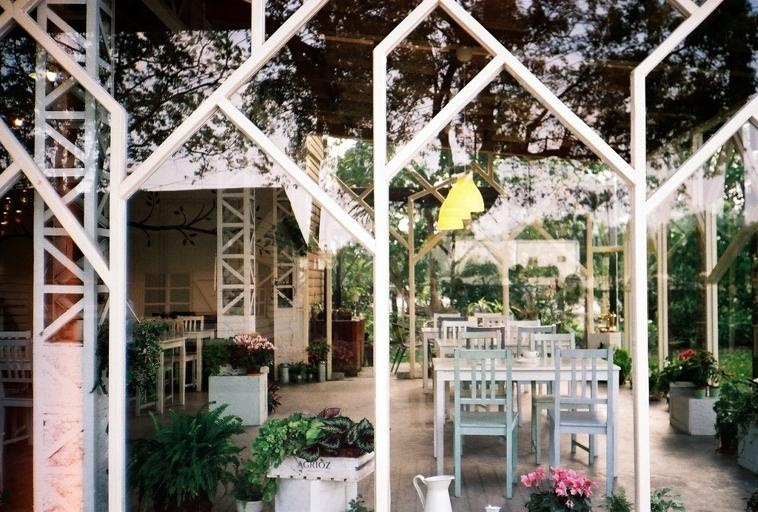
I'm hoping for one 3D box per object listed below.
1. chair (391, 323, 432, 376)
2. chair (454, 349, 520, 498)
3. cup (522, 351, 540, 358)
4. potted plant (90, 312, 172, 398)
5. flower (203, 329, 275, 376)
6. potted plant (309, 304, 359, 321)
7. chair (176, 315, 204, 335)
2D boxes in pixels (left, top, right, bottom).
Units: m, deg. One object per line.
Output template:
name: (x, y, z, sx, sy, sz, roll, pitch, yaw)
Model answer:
chair: (0.335, 1.017, 8.601, 0.411, 0.683, 0.482, 1, 2, -6)
chair: (1.038, 1.647, 8.020, 0.616, 1.356, 1.493, -2, -10, 5)
cup: (1.547, 1.004, 8.158, 0.103, 0.043, 0.073, 0, -2, -38)
potted plant: (-1.957, 0.811, 6.540, 0.654, 0.664, 0.568, 8, -13, -41)
flower: (-1.343, 0.913, 7.564, 0.494, 0.326, 0.404, 0, -5, -6)
potted plant: (-0.401, 0.495, 7.170, 0.548, 0.167, 0.067, -10, -13, 37)
chair: (-1.750, 0.652, 7.484, 0.153, 0.287, 0.173, 4, -8, -32)
